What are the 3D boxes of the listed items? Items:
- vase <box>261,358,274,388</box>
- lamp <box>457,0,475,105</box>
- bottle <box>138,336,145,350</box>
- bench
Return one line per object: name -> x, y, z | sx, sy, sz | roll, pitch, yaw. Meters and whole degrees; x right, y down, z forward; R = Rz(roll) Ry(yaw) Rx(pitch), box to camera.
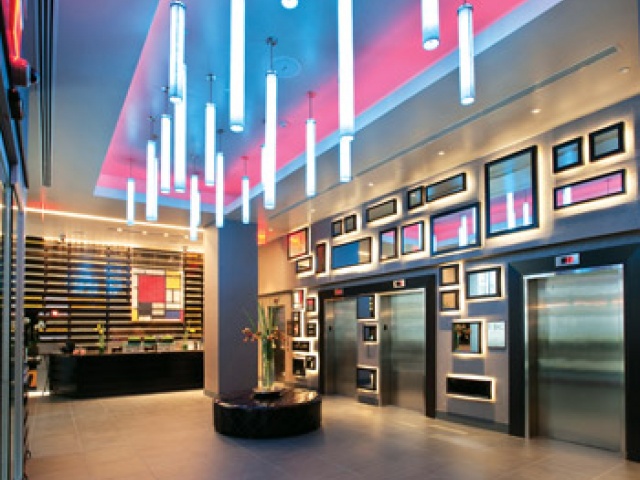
vase -> -0.816, 2.075, 8.232 | 0.176, 0.451, 0.234 | -1, -2, -12
lamp -> 1.289, -1.650, 4.681 | 0.125, 0.930, 0.271 | -2, -2, 15
bottle -> -4.310, 2.556, 12.876 | 0.101, 0.278, 0.523 | -1, -3, -18
bench -> -0.771, 2.712, 8.133 | 1.672, 0.507, 0.832 | -1, -3, -12
